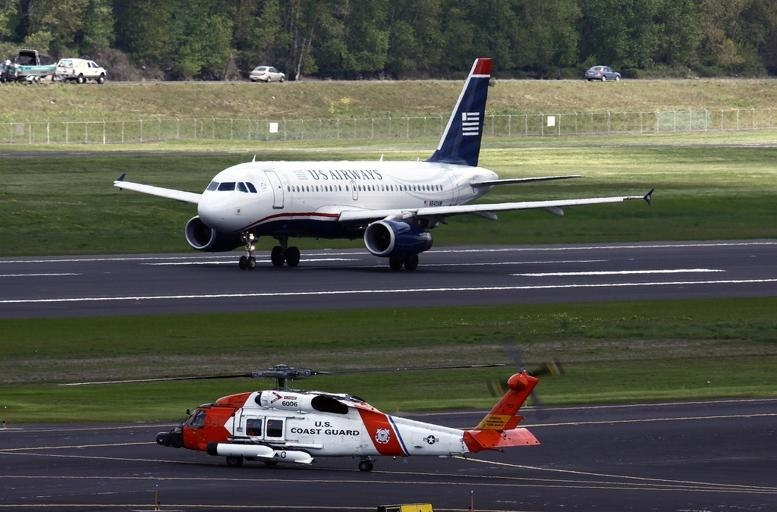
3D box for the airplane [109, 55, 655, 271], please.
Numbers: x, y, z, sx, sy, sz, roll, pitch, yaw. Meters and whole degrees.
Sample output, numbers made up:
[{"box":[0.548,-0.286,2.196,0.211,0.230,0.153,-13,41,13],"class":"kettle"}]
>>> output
[{"box":[-1.462,-5.143,182.729,38.787,10.740,28.670,2,2,43],"class":"airplane"}]
